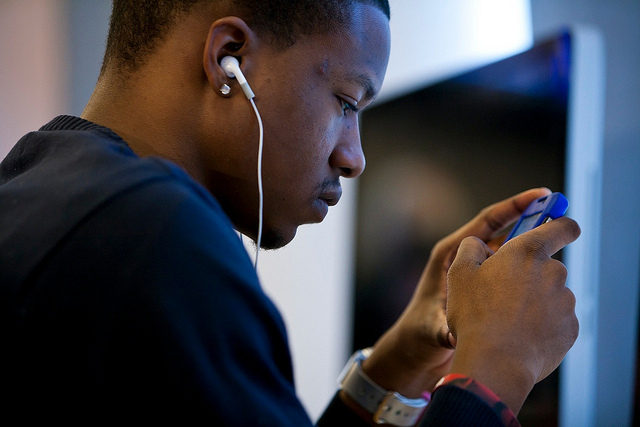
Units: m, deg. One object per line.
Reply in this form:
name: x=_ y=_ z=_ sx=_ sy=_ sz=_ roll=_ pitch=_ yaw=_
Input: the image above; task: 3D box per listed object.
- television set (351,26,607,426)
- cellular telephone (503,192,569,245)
television set: x=0.417 y=0.039 z=2.000 sx=0.197 sy=0.994 sz=0.841 roll=5 pitch=-2 yaw=-36
cellular telephone: x=0.515 y=0.008 z=1.632 sx=0.093 sy=0.117 sz=0.184 roll=4 pitch=-2 yaw=-8
